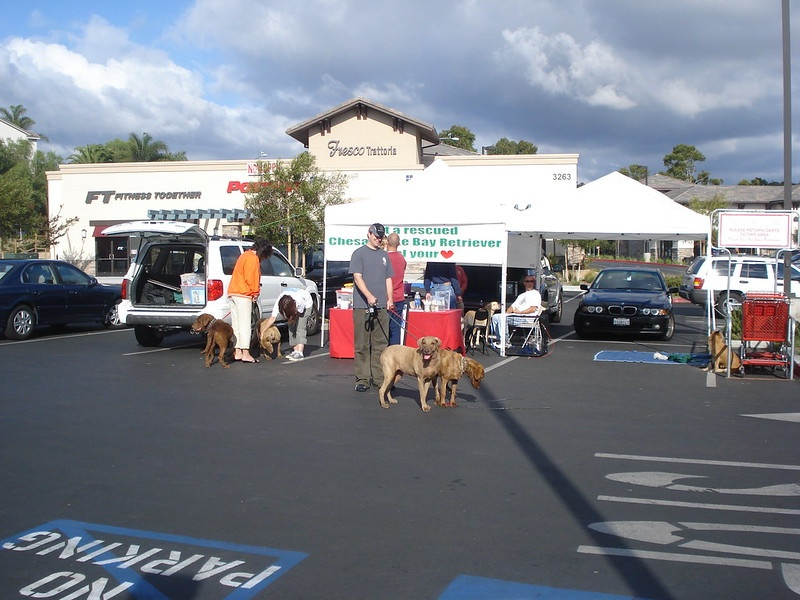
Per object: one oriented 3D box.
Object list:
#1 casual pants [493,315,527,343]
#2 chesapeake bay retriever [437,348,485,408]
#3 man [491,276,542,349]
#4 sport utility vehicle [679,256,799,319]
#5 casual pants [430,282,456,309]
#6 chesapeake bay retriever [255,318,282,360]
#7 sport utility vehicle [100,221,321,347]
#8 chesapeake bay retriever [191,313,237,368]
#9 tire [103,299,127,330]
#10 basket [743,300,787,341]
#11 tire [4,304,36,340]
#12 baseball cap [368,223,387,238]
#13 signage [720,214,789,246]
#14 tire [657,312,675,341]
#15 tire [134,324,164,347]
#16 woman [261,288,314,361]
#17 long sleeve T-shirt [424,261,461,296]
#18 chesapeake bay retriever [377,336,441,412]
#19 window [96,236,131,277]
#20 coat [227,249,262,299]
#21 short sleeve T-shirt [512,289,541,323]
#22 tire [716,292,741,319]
[{"bbox_3d":[2.087,0.540,13.655,0.535,0.359,0.538,-1,3,-26],"label":"casual pants"},{"bbox_3d":[0.767,1.012,9.153,0.560,0.772,0.645,2,6,14],"label":"chesapeake bay retriever"},{"bbox_3d":[2.279,0.233,13.788,0.864,1.560,0.739,5,-3,-14],"label":"man"},{"bbox_3d":[8.518,-0.357,17.716,3.203,1.415,1.633,-3,7,8],"label":"sport utility vehicle"},{"bbox_3d":[0.765,-0.072,12.865,0.444,0.444,0.790,4,-2,4],"label":"casual pants"},{"bbox_3d":[-2.435,0.700,13.150,0.319,0.633,1.071,-10,24,-11],"label":"chesapeake bay retriever"},{"bbox_3d":[-3.486,-0.527,14.940,2.109,2.154,5.050,1,6,20],"label":"sport utility vehicle"},{"bbox_3d":[-3.138,0.596,12.083,0.237,0.584,0.942,4,2,42],"label":"chesapeake bay retriever"},{"bbox_3d":[-6.566,0.296,16.109,0.577,0.602,0.208,-19,12,-24],"label":"tire"},{"bbox_3d":[5.883,0.348,11.481,0.713,0.728,0.743,2,-4,15],"label":"basket"},{"bbox_3d":[-8.199,0.463,15.094,0.211,0.616,0.601,-6,12,22],"label":"tire"},{"bbox_3d":[-0.346,-0.995,10.118,0.193,0.203,0.332,1,6,8],"label":"baseball cap"},{"bbox_3d":[5.762,-1.140,11.496,1.220,0.570,0.434,0,6,-6],"label":"signage"},{"bbox_3d":[5.696,0.568,15.175,0.211,0.632,0.609,-1,-4,31],"label":"tire"},{"bbox_3d":[-5.018,0.697,14.023,0.175,0.460,0.446,-4,-6,27],"label":"tire"},{"bbox_3d":[-2.132,0.484,12.762,0.860,1.194,1.204,-8,-2,4],"label":"woman"},{"bbox_3d":[0.758,-0.398,13.174,0.536,0.624,0.254,3,26,6],"label":"long sleeve T-shirt"},{"bbox_3d":[0.157,0.924,9.082,0.387,0.972,1.091,-9,7,-43],"label":"chesapeake bay retriever"},{"bbox_3d":[-15.875,-2.229,38.767,1.600,2.489,0.746,0,-19,-24],"label":"window"},{"bbox_3d":[-2.712,-0.453,12.203,0.535,0.839,0.261,-2,6,-24],"label":"coat"},{"bbox_3d":[2.459,0.140,13.743,0.312,0.593,0.537,34,-23,-31],"label":"short sleeve T-shirt"},{"bbox_3d":[8.454,0.123,18.152,0.561,0.586,0.207,-23,2,8],"label":"tire"}]
